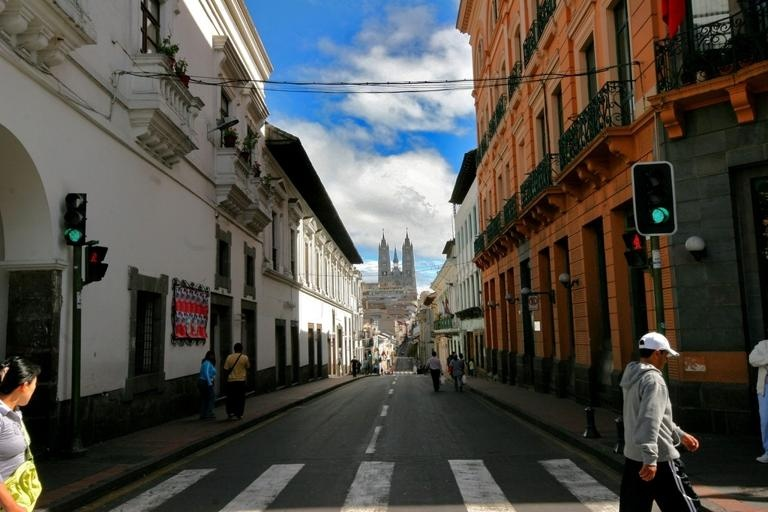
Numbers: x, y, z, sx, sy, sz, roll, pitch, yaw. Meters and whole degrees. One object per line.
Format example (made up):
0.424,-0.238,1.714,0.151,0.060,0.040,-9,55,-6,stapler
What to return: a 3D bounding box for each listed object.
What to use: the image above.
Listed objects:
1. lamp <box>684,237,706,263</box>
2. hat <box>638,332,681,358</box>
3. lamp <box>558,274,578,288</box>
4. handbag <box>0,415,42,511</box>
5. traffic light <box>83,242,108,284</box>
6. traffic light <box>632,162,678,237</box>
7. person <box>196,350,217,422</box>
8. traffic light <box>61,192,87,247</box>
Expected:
7.040,-0.132,15.036,0.452,0.715,0.470,-5,-4,35,lamp
4.021,1.261,9.789,0.659,0.390,0.446,5,2,-6,hat
5.886,0.781,21.283,0.554,0.489,0.328,2,-10,-31,lamp
-4.797,2.771,8.879,0.443,1.162,0.205,5,-13,-31,handbag
-6.271,0.124,14.517,0.494,0.902,0.311,-1,-11,-5,traffic light
4.956,-1.082,12.397,0.748,1.363,0.518,-1,-12,-7,traffic light
-5.246,3.768,19.769,0.479,2.028,1.202,1,-12,-16,person
-6.635,-0.782,14.374,0.403,1.112,0.224,0,-11,-12,traffic light
